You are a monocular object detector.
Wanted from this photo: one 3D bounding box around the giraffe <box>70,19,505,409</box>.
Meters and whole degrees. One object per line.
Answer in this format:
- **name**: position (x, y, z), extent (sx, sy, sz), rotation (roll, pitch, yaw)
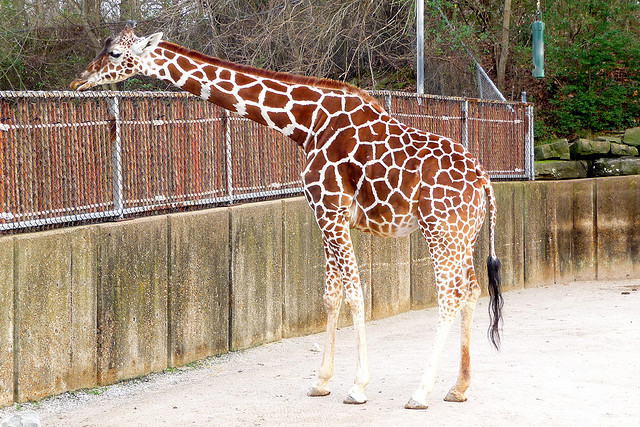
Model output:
- **giraffe**: position (0.093, -0.049, 17.118), extent (4.447, 5.068, 1.588), rotation (3, 11, 22)
